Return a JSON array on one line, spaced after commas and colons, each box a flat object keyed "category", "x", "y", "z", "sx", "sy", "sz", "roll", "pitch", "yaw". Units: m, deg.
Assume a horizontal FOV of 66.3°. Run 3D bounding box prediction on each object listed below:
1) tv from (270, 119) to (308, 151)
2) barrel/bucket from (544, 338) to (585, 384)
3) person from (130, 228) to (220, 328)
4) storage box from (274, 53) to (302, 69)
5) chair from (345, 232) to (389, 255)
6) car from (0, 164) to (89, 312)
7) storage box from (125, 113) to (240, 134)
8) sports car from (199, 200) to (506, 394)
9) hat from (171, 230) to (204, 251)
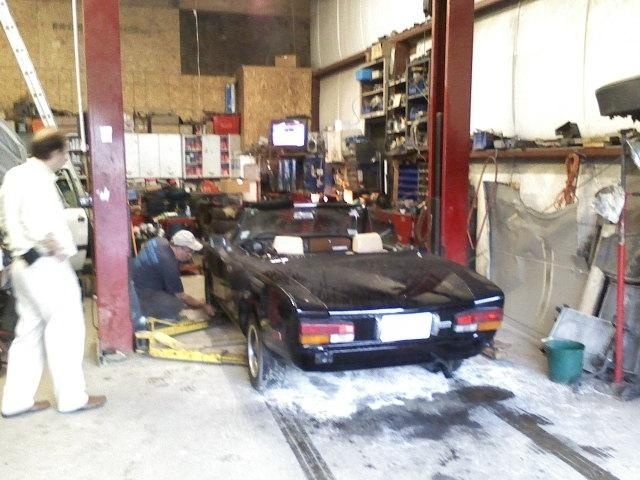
[{"category": "tv", "x": -0.816, "y": -2.773, "z": 12.865, "sx": 0.755, "sy": 0.644, "sz": 0.760, "roll": -1, "pitch": 8, "yaw": -7}, {"category": "barrel/bucket", "x": 2.073, "y": 1.011, "z": 4.109, "sx": 0.271, "sy": 0.340, "sz": 0.358, "roll": 0, "pitch": -6, "yaw": 5}, {"category": "person", "x": -1.698, "y": 0.508, "z": 5.624, "sx": 0.856, "sy": 1.324, "sz": 0.801, "roll": -2, "pitch": 39, "yaw": -22}, {"category": "storage box", "x": -0.920, "y": -4.882, "z": 13.441, "sx": 0.692, "sy": 0.338, "sz": 0.498, "roll": -3, "pitch": 15, "yaw": -11}, {"category": "chair", "x": 0.432, "y": 0.033, "z": 4.436, "sx": 0.219, "sy": 0.156, "sz": 0.172, "roll": -2, "pitch": 9, "yaw": -14}, {"category": "car", "x": -3.604, "y": -0.109, "z": 6.622, "sx": 0.895, "sy": 0.949, "sz": 1.760, "roll": -4, "pitch": 51, "yaw": -20}, {"category": "storage box", "x": -3.802, "y": -3.244, "z": 13.736, "sx": 3.086, "sy": 0.577, "sz": 0.793, "roll": -3, "pitch": 15, "yaw": -11}, {"category": "sports car", "x": 0.239, "y": 0.446, "z": 4.360, "sx": 1.860, "sy": 1.354, "sz": 2.135, "roll": -7, "pitch": 16, "yaw": -24}, {"category": "hat", "x": -1.448, "y": 0.048, "z": 5.317, "sx": 0.299, "sy": 0.132, "sz": 0.210, "roll": 20, "pitch": 18, "yaw": -18}]
